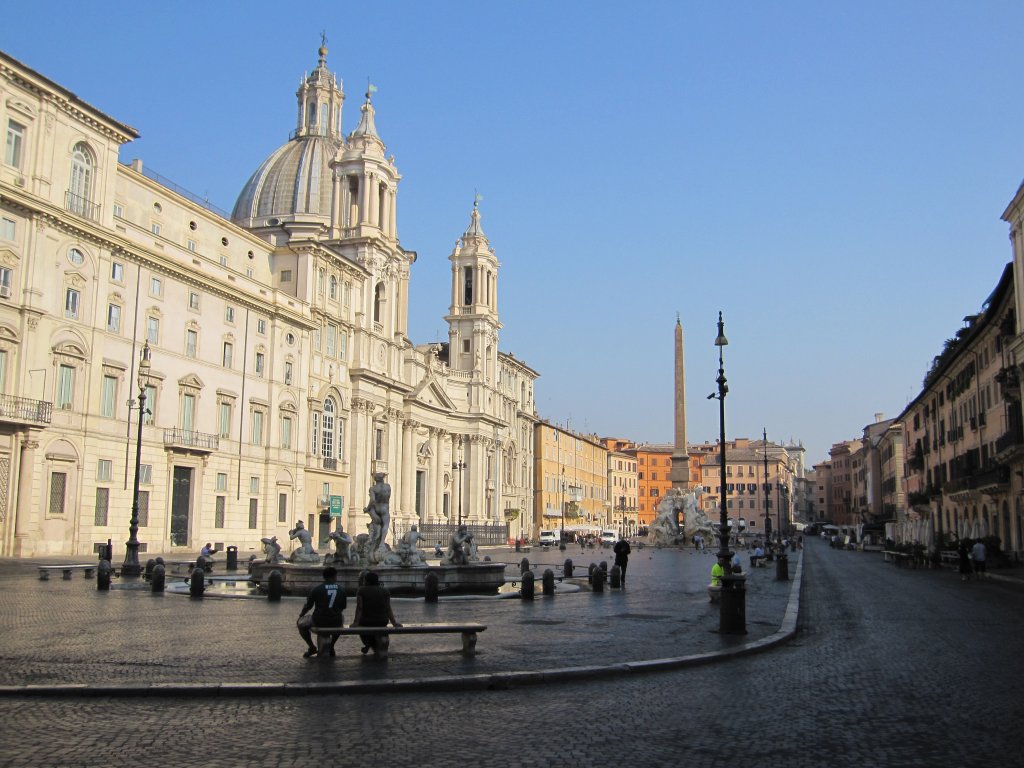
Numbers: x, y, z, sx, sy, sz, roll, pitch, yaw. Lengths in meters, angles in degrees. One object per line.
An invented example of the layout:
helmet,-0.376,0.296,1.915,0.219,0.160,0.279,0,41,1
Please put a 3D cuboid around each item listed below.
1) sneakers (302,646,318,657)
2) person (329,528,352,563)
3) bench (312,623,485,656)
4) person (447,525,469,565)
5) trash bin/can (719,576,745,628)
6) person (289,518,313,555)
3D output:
sneakers,-3.816,5.057,20.008,0.292,0.294,0.149,1,-14,13
person,-5.498,5.190,34.059,0.634,1.155,1.495,0,-13,-9
bench,-1.811,4.983,20.664,2.984,0.682,3.238,-6,-14,18
person,-1.843,5.559,36.886,0.747,1.471,1.725,-1,-13,-4
trash bin/can,4.860,4.980,23.947,0.756,1.313,0.768,-3,-5,9
person,-7.096,5.232,35.681,0.695,1.309,3.058,1,-14,-11
